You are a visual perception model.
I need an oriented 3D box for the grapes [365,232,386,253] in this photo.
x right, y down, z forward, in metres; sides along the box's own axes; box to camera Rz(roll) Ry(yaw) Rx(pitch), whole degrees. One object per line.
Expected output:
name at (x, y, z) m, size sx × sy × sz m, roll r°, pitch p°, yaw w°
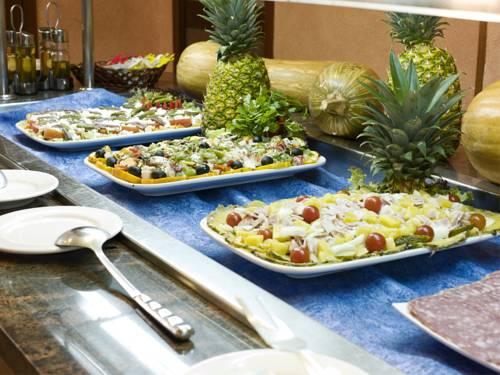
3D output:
grapes at (0.212, 0.095, 0.708) m, size 0.043 × 0.031 × 0.035 m, roll -4°, pitch -4°, yaw -5°

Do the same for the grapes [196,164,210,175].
grapes at (-0.117, -0.046, 1.054) m, size 0.039 × 0.020 × 0.025 m, roll -8°, pitch 1°, yaw 22°

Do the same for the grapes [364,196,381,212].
grapes at (0.252, 0.034, 0.855) m, size 0.044 × 0.028 × 0.036 m, roll -3°, pitch -9°, yaw 26°

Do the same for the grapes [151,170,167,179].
grapes at (-0.220, -0.031, 1.009) m, size 0.030 × 0.013 × 0.027 m, roll -1°, pitch 3°, yaw 0°

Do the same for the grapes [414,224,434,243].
grapes at (0.312, 0.087, 0.780) m, size 0.038 × 0.026 × 0.035 m, roll 11°, pitch -26°, yaw 3°

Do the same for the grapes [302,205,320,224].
grapes at (0.115, 0.053, 0.781) m, size 0.044 × 0.031 × 0.034 m, roll 1°, pitch 5°, yaw 9°

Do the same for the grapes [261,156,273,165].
grapes at (0.048, -0.074, 1.146) m, size 0.037 × 0.023 × 0.025 m, roll 4°, pitch 47°, yaw -26°

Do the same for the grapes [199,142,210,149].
grapes at (-0.124, -0.118, 1.168) m, size 0.025 × 0.012 × 0.022 m, roll -2°, pitch 5°, yaw -10°

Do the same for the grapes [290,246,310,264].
grapes at (0.080, 0.106, 0.666) m, size 0.035 × 0.021 × 0.028 m, roll 4°, pitch 5°, yaw 13°

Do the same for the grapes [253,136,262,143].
grapes at (0.026, -0.150, 1.295) m, size 0.025 × 0.020 × 0.022 m, roll -24°, pitch 62°, yaw -19°

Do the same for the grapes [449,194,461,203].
grapes at (0.456, 0.024, 0.938) m, size 0.024 × 0.015 × 0.025 m, roll 0°, pitch 16°, yaw -16°

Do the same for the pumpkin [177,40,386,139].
pumpkin at (0.177, -0.403, 1.500) m, size 0.591 × 0.125 × 0.152 m, roll 0°, pitch -5°, yaw -24°

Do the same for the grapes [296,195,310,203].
grapes at (0.111, 0.022, 0.874) m, size 0.020 × 0.008 × 0.016 m, roll -1°, pitch 9°, yaw 43°

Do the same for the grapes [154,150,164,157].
grapes at (-0.238, -0.089, 1.106) m, size 0.021 × 0.013 × 0.021 m, roll 3°, pitch 9°, yaw -8°

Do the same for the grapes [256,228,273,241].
grapes at (0.028, 0.080, 0.727) m, size 0.026 × 0.019 × 0.021 m, roll 1°, pitch 8°, yaw -5°

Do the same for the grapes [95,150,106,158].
grapes at (-0.417, -0.094, 1.176) m, size 0.032 × 0.025 × 0.028 m, roll -2°, pitch 12°, yaw -30°

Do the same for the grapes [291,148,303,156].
grapes at (0.138, -0.101, 1.208) m, size 0.023 × 0.022 × 0.022 m, roll -15°, pitch -40°, yaw 32°

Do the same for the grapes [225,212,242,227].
grapes at (-0.027, 0.062, 0.793) m, size 0.039 × 0.023 × 0.028 m, roll -2°, pitch 6°, yaw 2°

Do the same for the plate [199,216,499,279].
plate at (0.177, 0.071, 0.699) m, size 0.326 × 0.022 × 0.167 m, roll -3°, pitch 8°, yaw -23°

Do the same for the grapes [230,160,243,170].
grapes at (-0.033, -0.059, 1.101) m, size 0.035 × 0.018 × 0.025 m, roll 0°, pitch -3°, yaw -36°

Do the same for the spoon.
spoon at (-0.207, 0.116, 0.639) m, size 0.098 × 0.030 × 0.366 m, roll -11°, pitch 22°, yaw -39°

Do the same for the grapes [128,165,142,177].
grapes at (-0.277, -0.040, 1.025) m, size 0.030 × 0.016 × 0.034 m, roll 21°, pitch 5°, yaw -39°
